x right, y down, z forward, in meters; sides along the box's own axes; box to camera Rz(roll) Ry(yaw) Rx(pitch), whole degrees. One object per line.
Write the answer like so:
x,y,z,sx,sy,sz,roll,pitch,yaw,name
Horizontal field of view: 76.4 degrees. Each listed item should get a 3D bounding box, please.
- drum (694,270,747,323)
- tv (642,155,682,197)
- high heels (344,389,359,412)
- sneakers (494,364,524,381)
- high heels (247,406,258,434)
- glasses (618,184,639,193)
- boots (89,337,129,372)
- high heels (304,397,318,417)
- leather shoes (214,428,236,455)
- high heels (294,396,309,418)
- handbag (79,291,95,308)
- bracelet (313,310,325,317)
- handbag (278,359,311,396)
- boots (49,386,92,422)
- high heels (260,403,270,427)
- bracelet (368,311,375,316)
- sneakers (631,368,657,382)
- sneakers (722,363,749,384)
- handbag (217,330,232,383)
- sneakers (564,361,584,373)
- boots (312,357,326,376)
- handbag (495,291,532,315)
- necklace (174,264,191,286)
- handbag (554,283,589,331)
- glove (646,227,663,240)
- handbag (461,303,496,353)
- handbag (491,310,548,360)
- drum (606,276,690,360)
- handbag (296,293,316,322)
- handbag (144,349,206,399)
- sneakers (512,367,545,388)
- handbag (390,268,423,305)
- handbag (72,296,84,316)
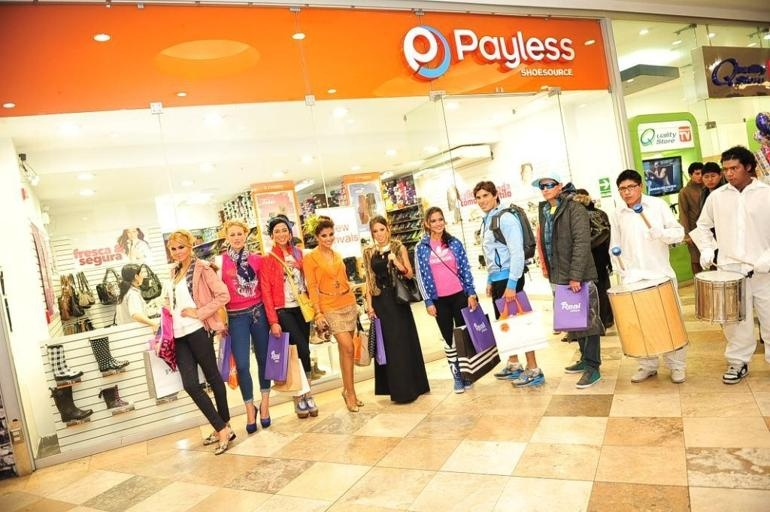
3.348,0.444,4.898,0.452,0.551,0.306,-8,9,16,drum
5.093,-1.481,9.064,1.042,0.690,0.090,-9,6,-22,tv
-0.412,1.728,5.768,0.108,0.125,0.309,-12,42,-28,high heels
1.516,1.421,5.961,0.144,0.185,0.390,1,-7,-45,sneakers
-1.524,1.893,5.700,0.101,0.328,0.072,-4,-19,21,high heels
2.584,-0.713,5.198,0.118,0.058,0.137,-9,-11,27,glasses
-3.329,1.206,5.908,0.173,0.408,0.424,-19,-11,27,boots
-0.868,1.798,5.824,0.099,0.133,0.286,-2,8,-23,high heels
-1.776,2.014,5.352,0.129,0.139,0.329,-9,14,15,leather shoes
-0.977,1.810,5.811,0.116,0.141,0.331,1,-6,-20,high heels
-3.503,0.518,5.755,0.175,0.168,0.094,-13,-1,-36,handbag
-0.767,0.660,5.619,0.084,0.034,0.074,3,0,13,bracelet
-1.046,1.388,5.644,0.269,0.462,0.473,4,-7,-27,handbag
-3.707,1.737,5.887,0.483,0.475,0.250,-8,3,-21,boots
-1.403,1.866,5.791,0.107,0.299,0.123,-3,-3,-22,high heels
-0.165,0.672,5.736,0.050,0.051,0.068,-2,-6,9,bracelet
2.792,1.282,5.363,0.327,0.128,0.125,-5,0,-21,sneakers
3.523,1.199,4.972,0.377,0.154,0.123,4,-11,-44,sneakers
-1.815,1.151,5.573,0.119,0.458,0.487,1,-30,-16,handbag
2.213,1.314,5.801,0.112,0.113,0.291,2,-1,-6,sneakers
-0.885,1.498,6.536,0.267,0.241,0.122,-1,3,-4,boots
1.396,0.527,5.414,0.244,0.202,0.090,-22,-2,-12,handbag
-2.212,0.217,5.378,0.235,0.215,0.139,-1,-6,2,necklace
1.963,0.547,5.169,0.464,0.606,0.195,-4,-26,20,handbag
2.764,-0.233,5.054,0.121,0.126,0.078,-9,9,6,glove
1.033,0.836,5.546,0.198,0.515,0.449,-20,12,37,handbag
1.458,0.821,5.465,0.569,0.457,0.328,-14,5,-4,handbag
2.669,0.643,5.096,0.659,0.674,0.644,-15,1,-22,drum
-0.916,0.595,5.668,0.197,0.324,0.089,-17,2,-21,handbag
-2.272,1.264,5.324,0.723,0.584,0.246,-7,-12,-40,handbag
1.565,1.410,5.624,0.456,0.207,0.160,-3,-4,1,sneakers
0.229,0.346,5.642,0.416,0.398,0.144,2,-25,-42,handbag
-3.584,0.582,5.716,0.134,0.236,0.030,-16,10,-31,handbag
